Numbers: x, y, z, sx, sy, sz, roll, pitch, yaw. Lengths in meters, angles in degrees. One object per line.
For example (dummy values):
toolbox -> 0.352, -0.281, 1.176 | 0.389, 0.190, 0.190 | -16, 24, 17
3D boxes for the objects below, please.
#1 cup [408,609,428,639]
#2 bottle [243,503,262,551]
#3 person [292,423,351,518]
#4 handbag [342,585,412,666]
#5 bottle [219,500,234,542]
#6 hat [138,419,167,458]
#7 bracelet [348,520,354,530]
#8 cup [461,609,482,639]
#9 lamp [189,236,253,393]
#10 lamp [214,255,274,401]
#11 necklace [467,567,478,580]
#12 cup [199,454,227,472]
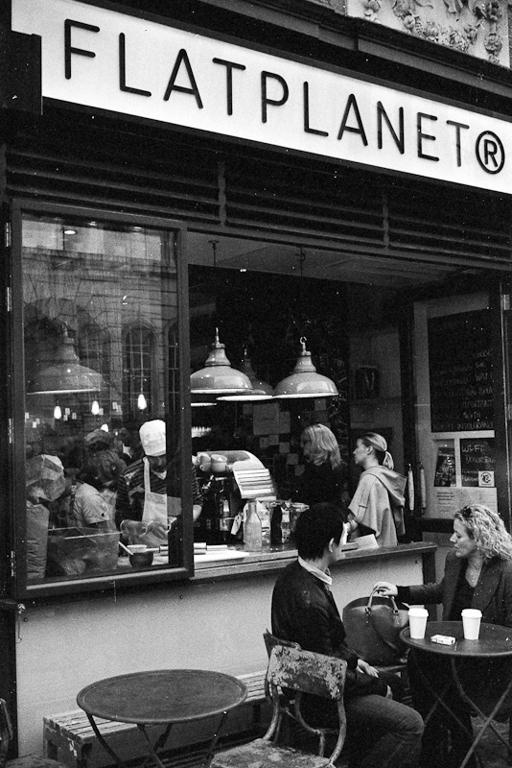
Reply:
cup -> 0.712, 1.048, 3.902 | 0.084, 0.133, 0.100 | 3, -9, -13
bottle -> -0.028, 0.826, 5.201 | 0.106, 0.257, 0.217 | 0, -2, 0
person -> 0.445, 0.627, 6.806 | 0.232, 0.855, 0.364 | 3, 38, 1
handbag -> 0.617, 1.276, 4.467 | 0.275, 0.463, 0.249 | 3, -39, 1
bottle -> -0.190, 0.826, 5.415 | 0.086, 0.238, 0.163 | 0, -2, -3
hat -> -0.491, 0.250, 4.276 | 0.097, 0.187, 0.149 | -8, 13, -26
bracelet -> 0.650, 0.975, 6.211 | 0.032, 0.083, 0.038 | -6, -10, 23
cup -> 0.915, 1.019, 3.847 | 0.089, 0.141, 0.098 | -1, -4, 0
lamp -> -0.337, -0.511, 7.293 | 0.524, 1.152, 0.573 | -1, -2, -26
lamp -> -0.100, -0.289, 8.513 | 0.639, 0.548, 1.630 | 0, -48, 2
necklace -> 1.068, 0.944, 4.426 | 0.012, 0.063, 0.049 | -3, 22, -35
cup -> -0.278, 0.478, 5.595 | 0.123, 0.114, 0.106 | -3, 1, 1
